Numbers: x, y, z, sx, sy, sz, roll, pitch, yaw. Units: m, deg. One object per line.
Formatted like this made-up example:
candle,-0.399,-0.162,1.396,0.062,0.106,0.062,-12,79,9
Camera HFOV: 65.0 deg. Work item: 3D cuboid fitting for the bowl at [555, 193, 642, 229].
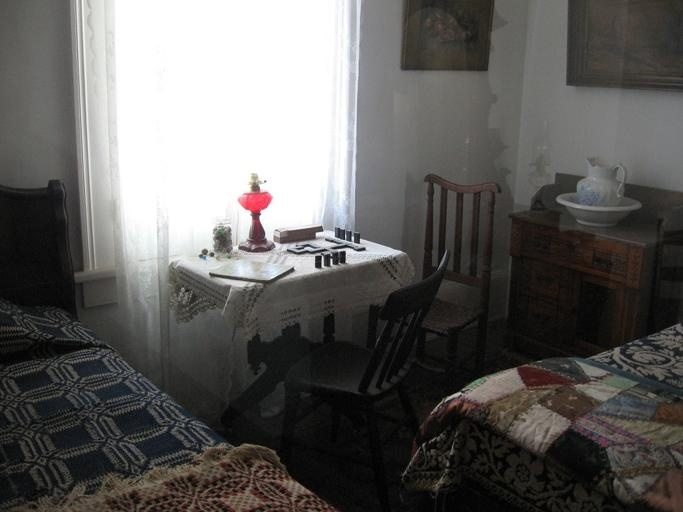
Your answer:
bowl,1.135,-0.200,2.385,0.374,0.110,0.378,8,-1,0

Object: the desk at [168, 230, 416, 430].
desk,-0.225,0.276,2.248,1.061,0.717,0.734,-13,23,-33

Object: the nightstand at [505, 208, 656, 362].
nightstand,1.061,0.101,2.339,0.337,0.650,0.561,-9,17,-32

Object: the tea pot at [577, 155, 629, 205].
tea pot,1.101,-0.318,2.297,0.150,0.201,0.188,-6,17,-24
